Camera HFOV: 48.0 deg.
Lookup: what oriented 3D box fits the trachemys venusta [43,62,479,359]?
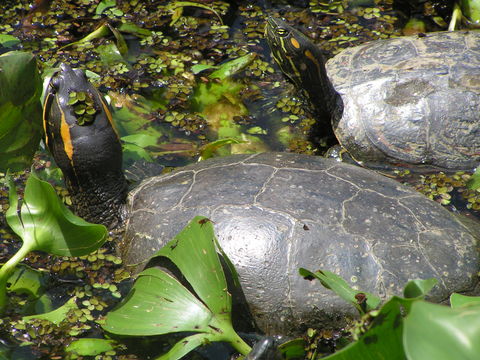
[{"bbox_3d":[0.091,0.141,3.322,2.728,0.990,1.273,19,54,22],"label":"trachemys venusta"}]
